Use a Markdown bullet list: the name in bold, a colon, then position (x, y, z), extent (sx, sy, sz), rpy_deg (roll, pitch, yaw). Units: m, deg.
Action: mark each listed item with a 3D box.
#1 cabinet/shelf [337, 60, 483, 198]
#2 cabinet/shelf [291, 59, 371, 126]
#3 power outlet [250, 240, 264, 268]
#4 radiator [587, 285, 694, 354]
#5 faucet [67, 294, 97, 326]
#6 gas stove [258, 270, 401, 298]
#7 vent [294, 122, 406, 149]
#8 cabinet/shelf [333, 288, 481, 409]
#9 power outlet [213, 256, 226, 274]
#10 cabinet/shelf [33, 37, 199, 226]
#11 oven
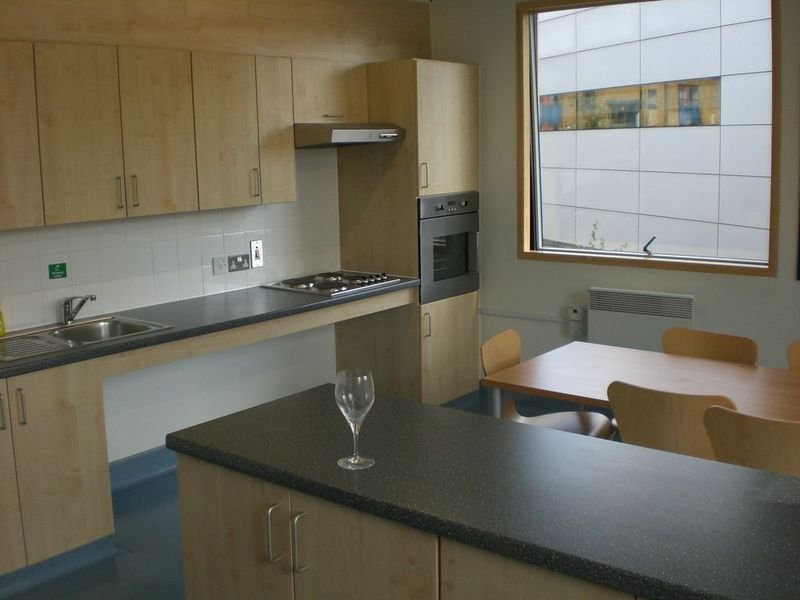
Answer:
- **cabinet/shelf**: position (0.227, -1.271, 5.092), extent (0.457, 0.879, 0.859), rpy_deg (11, 20, 36)
- **cabinet/shelf**: position (-0.512, -1.473, 4.505), extent (0.188, 0.488, 0.548), rpy_deg (5, 11, 36)
- **power outlet**: position (-1.022, -0.329, 4.542), extent (0.025, 0.199, 0.126), rpy_deg (4, 12, 29)
- **radiator**: position (1.742, 0.138, 4.515), extent (0.424, 0.376, 0.072), rpy_deg (6, 11, 27)
- **faucet**: position (-1.824, 0.047, 3.650), extent (0.143, 0.143, 0.242), rpy_deg (-2, 11, -1)
- **gas stove**: position (-0.456, -0.131, 4.658), extent (0.693, 0.069, 0.892), rpy_deg (9, 15, 41)
- **vent**: position (-0.341, -1.174, 4.495), extent (0.318, 0.167, 0.809), rpy_deg (9, 16, 44)
- **cabinet/shelf**: position (0.170, 0.443, 5.372), extent (0.643, 1.109, 0.784), rpy_deg (16, -24, -34)
- **power outlet**: position (-1.232, -0.241, 4.314), extent (0.014, 0.108, 0.105), rpy_deg (3, 7, 35)
- **cabinet/shelf**: position (-1.591, -0.942, 3.492), extent (0.369, 1.004, 0.972), rpy_deg (10, 14, 43)
- **oven**: position (0.297, -0.490, 5.201), extent (0.616, 0.823, 0.542), rpy_deg (-11, 18, -34)
